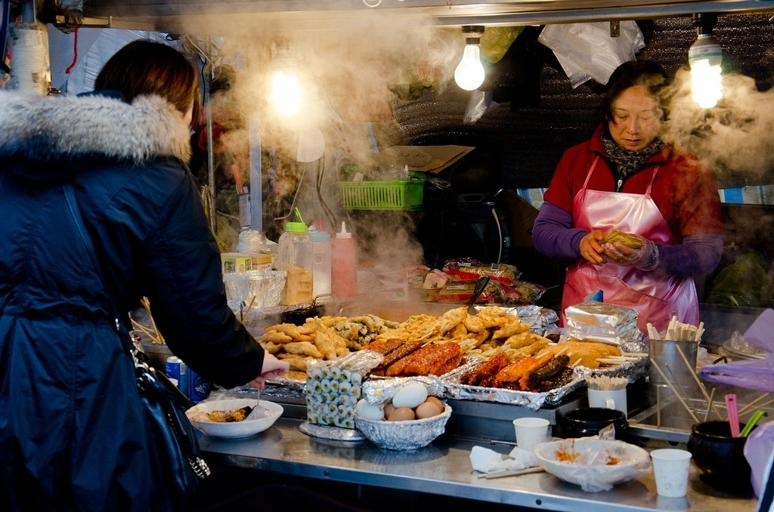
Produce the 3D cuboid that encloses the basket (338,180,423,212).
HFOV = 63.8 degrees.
[{"bbox_3d":[-0.040,-0.443,4.564,0.447,0.140,0.276,-1,3,23],"label":"basket"}]

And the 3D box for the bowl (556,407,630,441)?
[{"bbox_3d":[0.743,0.608,2.283,0.158,0.056,0.159,-4,-4,0],"label":"bowl"}]

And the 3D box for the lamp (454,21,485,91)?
[{"bbox_3d":[0.454,-1.068,3.394,0.149,0.267,0.469,1,8,7],"label":"lamp"}]

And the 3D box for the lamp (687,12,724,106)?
[{"bbox_3d":[1.515,-0.924,2.945,0.140,0.389,0.326,4,10,26],"label":"lamp"}]

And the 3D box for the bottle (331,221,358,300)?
[{"bbox_3d":[-0.269,0.035,3.803,0.155,0.443,0.297,-1,9,-5],"label":"bottle"}]

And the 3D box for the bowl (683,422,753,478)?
[{"bbox_3d":[1.135,0.660,2.115,0.168,0.100,0.152,-1,5,4],"label":"bowl"}]

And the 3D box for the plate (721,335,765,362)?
[{"bbox_3d":[1.636,0.421,2.846,0.153,0.107,0.311,4,9,23],"label":"plate"}]

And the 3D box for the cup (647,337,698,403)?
[{"bbox_3d":[1.152,0.448,2.495,0.239,0.231,0.227,-2,-1,0],"label":"cup"}]

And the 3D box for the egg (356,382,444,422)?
[{"bbox_3d":[0.041,0.528,2.340,0.217,0.104,0.173,1,-8,-20],"label":"egg"}]

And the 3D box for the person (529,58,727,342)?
[{"bbox_3d":[1.436,-0.357,3.741,1.065,1.614,0.574,4,10,25],"label":"person"}]

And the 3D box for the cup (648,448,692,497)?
[{"bbox_3d":[0.923,0.703,2.047,0.149,0.125,0.145,-1,-3,0],"label":"cup"}]

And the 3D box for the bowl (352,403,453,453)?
[{"bbox_3d":[0.067,0.653,2.334,0.350,0.157,0.145,-2,9,-16],"label":"bowl"}]

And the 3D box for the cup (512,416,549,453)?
[{"bbox_3d":[0.534,0.649,2.266,0.120,0.080,0.116,0,-4,0],"label":"cup"}]

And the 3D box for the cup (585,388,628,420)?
[{"bbox_3d":[0.848,0.563,2.385,0.097,0.102,0.145,1,3,10],"label":"cup"}]
